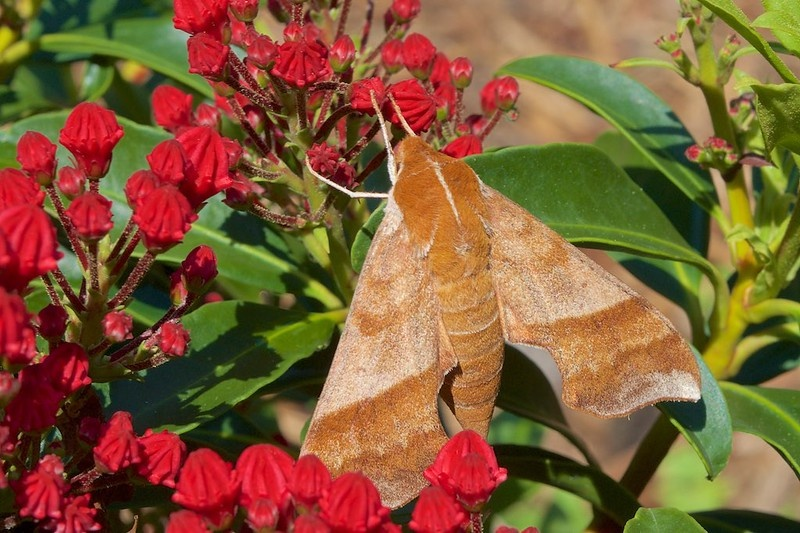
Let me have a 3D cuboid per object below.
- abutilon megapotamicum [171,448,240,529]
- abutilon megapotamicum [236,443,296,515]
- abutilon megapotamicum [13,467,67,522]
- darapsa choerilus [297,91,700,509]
[{"bbox_3d":[-0.489,0.567,2.397,0.169,0.207,0.090,-21,15,-18],"label":"abutilon megapotamicum"},{"bbox_3d":[-0.346,0.530,2.405,0.125,0.171,0.071,-3,-1,2],"label":"abutilon megapotamicum"},{"bbox_3d":[-0.894,0.566,2.355,0.104,0.123,0.038,-6,3,-17],"label":"abutilon megapotamicum"},{"bbox_3d":[0.358,0.124,2.920,1.119,1.215,0.383,10,5,-1],"label":"darapsa choerilus"}]
